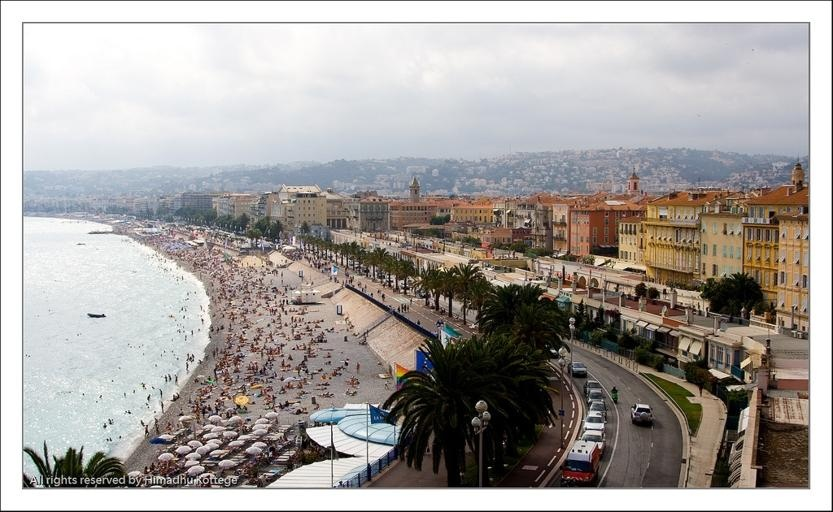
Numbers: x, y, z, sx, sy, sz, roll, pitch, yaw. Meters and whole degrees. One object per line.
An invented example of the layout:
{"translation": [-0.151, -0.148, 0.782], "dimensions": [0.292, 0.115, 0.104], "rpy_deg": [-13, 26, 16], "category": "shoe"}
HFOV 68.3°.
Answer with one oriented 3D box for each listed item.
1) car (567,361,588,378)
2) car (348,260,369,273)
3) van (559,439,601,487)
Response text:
{"translation": [16.489, 11.612, 62.785], "dimensions": [1.333, 1.131, 2.833], "rpy_deg": [-1, -5, 1], "category": "car"}
{"translation": [-13.526, 2.633, 145.451], "dimensions": [3.827, 1.367, 4.895], "rpy_deg": [-1, 3, -19], "category": "car"}
{"translation": [11.488, 14.200, 42.455], "dimensions": [2.103, 2.144, 4.106], "rpy_deg": [0, 7, 30], "category": "van"}
